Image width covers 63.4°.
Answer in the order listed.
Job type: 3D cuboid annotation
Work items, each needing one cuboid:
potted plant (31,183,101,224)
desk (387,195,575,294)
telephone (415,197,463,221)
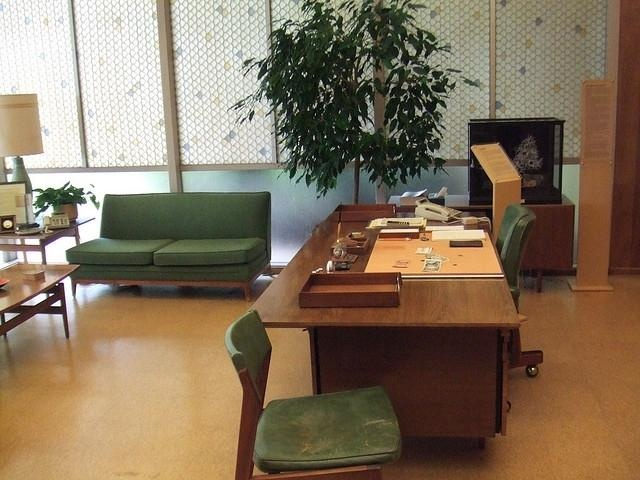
[{"bbox_3d":[-2.901,-0.452,5.874,0.596,0.425,0.607,-4,9,-8],"label":"potted plant"},{"bbox_3d":[2.100,0.214,6.877,1.502,0.917,3.108,-7,8,19],"label":"desk"},{"bbox_3d":[0.979,-0.253,4.393,0.269,0.101,0.195,9,15,35],"label":"telephone"}]
